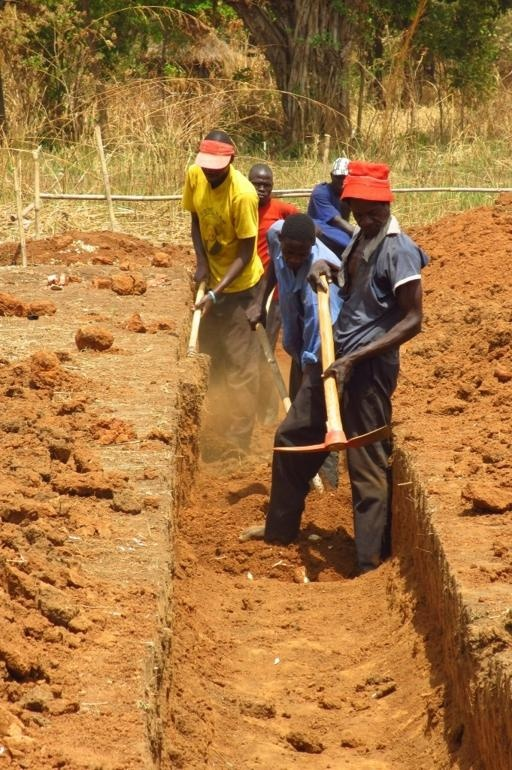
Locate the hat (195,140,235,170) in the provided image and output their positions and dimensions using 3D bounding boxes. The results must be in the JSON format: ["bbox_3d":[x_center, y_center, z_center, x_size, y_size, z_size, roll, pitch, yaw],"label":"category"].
[{"bbox_3d":[-0.249,-1.332,6.099,0.202,0.181,0.276,-2,7,0],"label":"hat"}]

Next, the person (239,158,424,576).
[{"bbox_3d":[0.408,-0.037,5.033,0.562,1.990,0.884,-5,9,-18],"label":"person"}]

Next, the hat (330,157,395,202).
[{"bbox_3d":[0.480,-0.907,4.693,0.230,0.198,0.227,1,8,21],"label":"hat"}]
